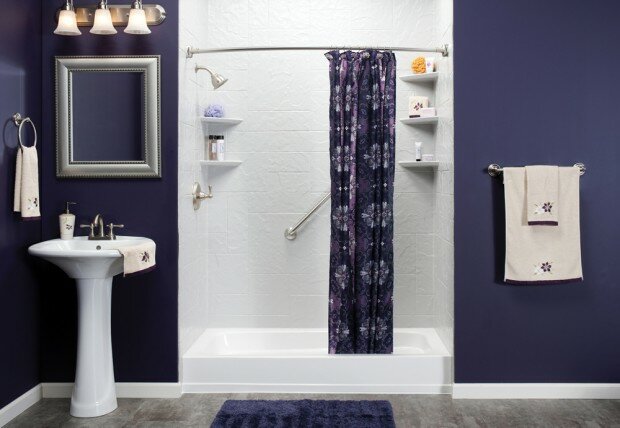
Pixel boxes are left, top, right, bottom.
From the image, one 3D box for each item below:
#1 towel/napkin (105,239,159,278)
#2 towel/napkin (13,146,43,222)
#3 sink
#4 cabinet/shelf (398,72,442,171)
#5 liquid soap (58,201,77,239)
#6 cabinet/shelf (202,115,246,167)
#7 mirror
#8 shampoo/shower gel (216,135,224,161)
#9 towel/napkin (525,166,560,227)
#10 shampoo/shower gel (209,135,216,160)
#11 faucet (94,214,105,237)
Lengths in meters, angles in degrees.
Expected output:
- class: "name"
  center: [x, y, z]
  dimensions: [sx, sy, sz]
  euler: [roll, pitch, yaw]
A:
- class: "towel/napkin"
  center: [-1.222, 0.290, 4.227]
  dimensions: [0.175, 0.226, 0.385]
  euler: [-1, 1, 28]
- class: "towel/napkin"
  center: [-2.015, -0.223, 4.314]
  dimensions: [0.200, 0.507, 0.164]
  euler: [-6, 8, -40]
- class: "sink"
  center: [-1.588, 0.323, 4.370]
  dimensions: [0.849, 0.264, 0.878]
  euler: [3, 3, 14]
- class: "cabinet/shelf"
  center: [0.888, -0.763, 5.019]
  dimensions: [0.319, 0.797, 0.304]
  euler: [0, 6, 8]
- class: "liquid soap"
  center: [-1.787, 0.052, 4.468]
  dimensions: [0.112, 0.259, 0.142]
  euler: [-2, 7, -14]
- class: "cabinet/shelf"
  center: [-0.770, -0.577, 5.099]
  dimensions: [0.341, 0.324, 0.182]
  euler: [-5, 6, -40]
- class: "mirror"
  center: [-1.502, -0.754, 4.499]
  dimensions: [0.895, 1.015, 0.073]
  euler: [0, 2, 2]
- class: "shampoo/shower gel"
  center: [-0.759, -0.550, 5.075]
  dimensions: [0.065, 0.207, 0.052]
  euler: [-3, 7, -23]
- class: "towel/napkin"
  center: [1.699, -0.135, 4.430]
  dimensions: [0.043, 0.441, 0.227]
  euler: [0, 1, -43]
- class: "shampoo/shower gel"
  center: [-0.827, -0.552, 5.092]
  dimensions: [0.091, 0.197, 0.047]
  euler: [5, 8, 43]
- class: "faucet"
  center: [-1.556, 0.096, 4.476]
  dimensions: [0.069, 0.165, 0.162]
  euler: [-3, 7, -19]
